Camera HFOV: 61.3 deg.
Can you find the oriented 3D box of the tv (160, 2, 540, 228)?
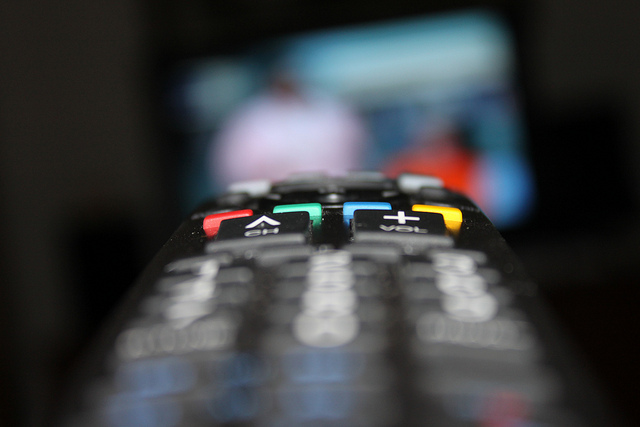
[{"bbox_3d":[0.039,-0.101,0.529,0.244,0.153,0.010,-3,1,5],"label":"tv"}]

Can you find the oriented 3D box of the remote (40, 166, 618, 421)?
[{"bbox_3d":[0.028,0.043,0.389,0.321,0.128,0.257,0,9,13],"label":"remote"}]
